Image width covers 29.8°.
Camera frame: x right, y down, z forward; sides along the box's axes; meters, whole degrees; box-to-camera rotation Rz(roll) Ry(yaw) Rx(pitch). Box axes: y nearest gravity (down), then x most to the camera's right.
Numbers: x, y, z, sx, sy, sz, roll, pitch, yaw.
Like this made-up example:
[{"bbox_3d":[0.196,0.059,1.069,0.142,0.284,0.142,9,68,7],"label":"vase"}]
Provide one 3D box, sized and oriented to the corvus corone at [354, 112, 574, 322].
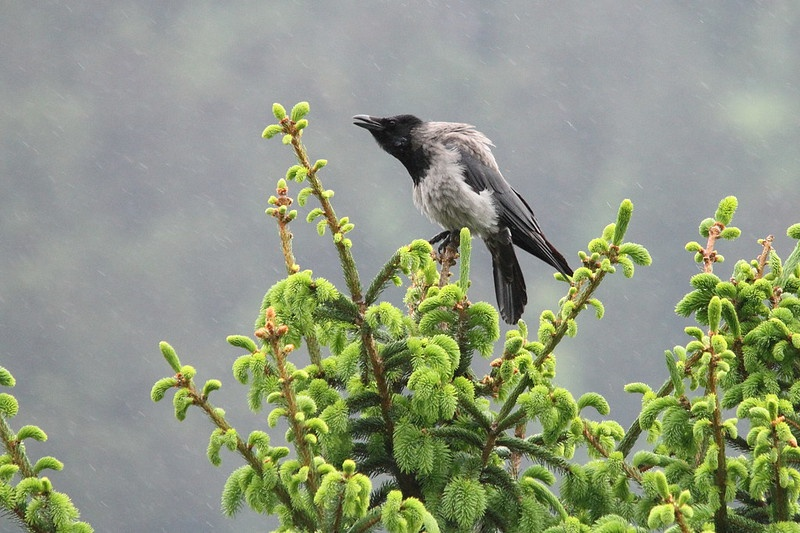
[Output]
[{"bbox_3d":[0.567,-0.522,11.837,2.345,1.035,0.690,23,-20,-25],"label":"corvus corone"}]
